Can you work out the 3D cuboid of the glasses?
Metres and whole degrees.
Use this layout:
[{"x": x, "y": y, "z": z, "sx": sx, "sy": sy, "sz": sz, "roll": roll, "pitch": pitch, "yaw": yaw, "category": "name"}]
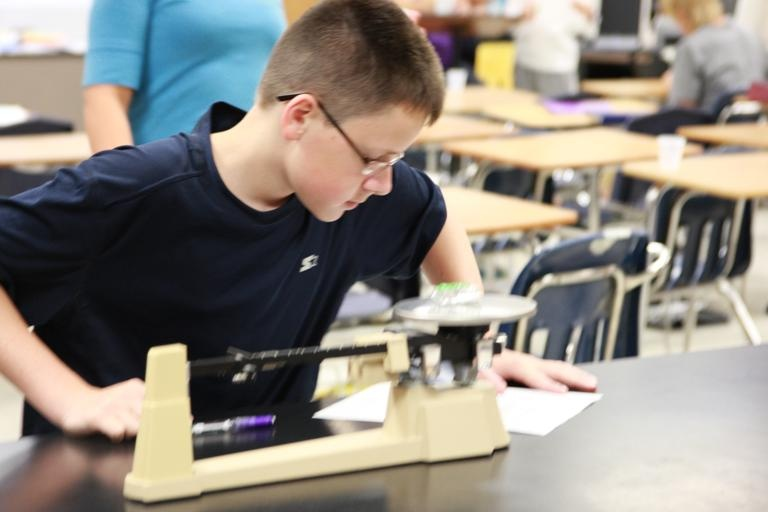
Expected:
[{"x": -0.085, "y": -0.217, "z": 1.351, "sx": 0.168, "sy": 0.051, "sz": 0.163, "roll": 45, "pitch": 13, "yaw": 15, "category": "glasses"}]
